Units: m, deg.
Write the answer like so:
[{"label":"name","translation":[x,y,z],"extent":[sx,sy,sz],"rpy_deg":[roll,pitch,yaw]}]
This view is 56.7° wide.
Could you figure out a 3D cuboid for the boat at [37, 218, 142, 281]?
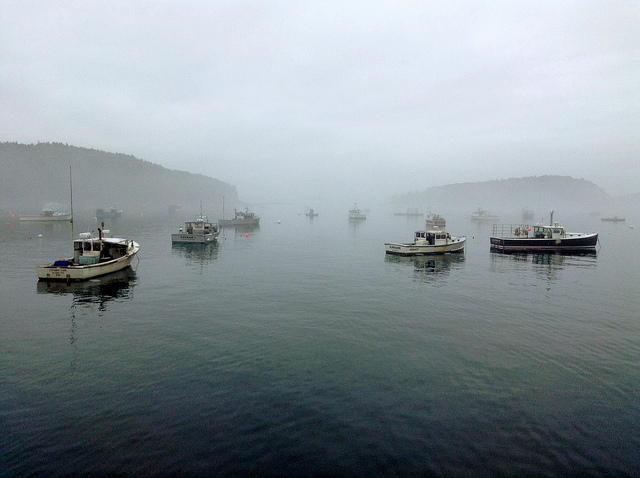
[{"label":"boat","translation":[-28.095,1.840,74.136],"extent":[7.546,5.991,15.662],"rpy_deg":[0,7,10]}]

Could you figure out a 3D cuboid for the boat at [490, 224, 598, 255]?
[{"label":"boat","translation":[39.032,1.381,102.999],"extent":[17.139,6.648,7.198],"rpy_deg":[-1,2,8]}]
